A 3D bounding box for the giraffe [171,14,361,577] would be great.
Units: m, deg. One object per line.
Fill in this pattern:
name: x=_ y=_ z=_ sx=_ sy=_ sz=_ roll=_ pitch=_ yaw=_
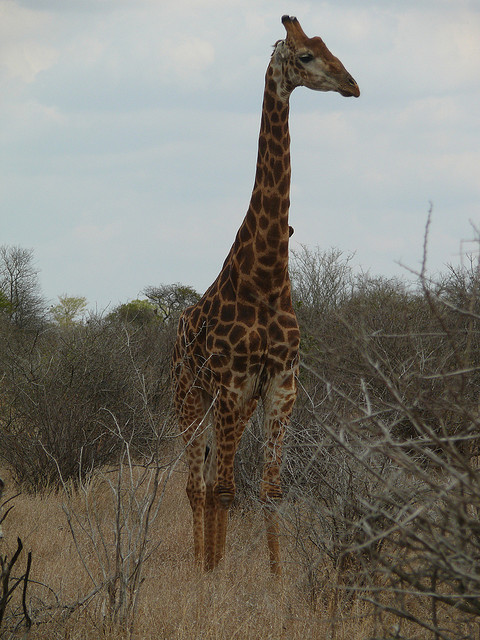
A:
giraffe: x=0.060 y=-0.161 z=4.581 sx=0.511 sy=3.163 sz=1.196 roll=5 pitch=-5 yaw=-41
